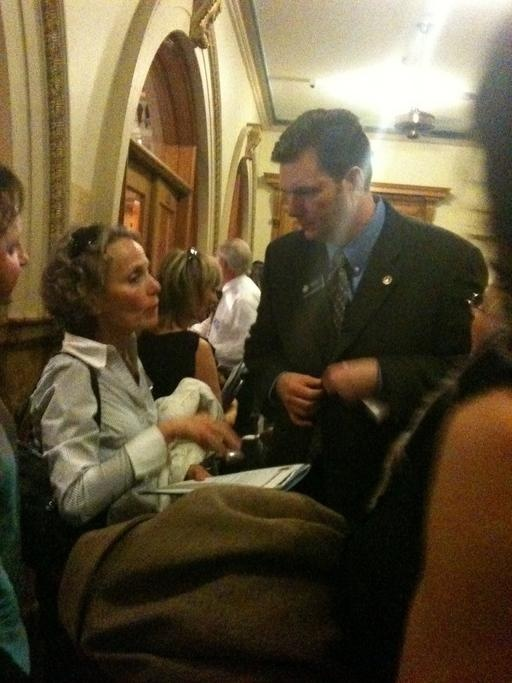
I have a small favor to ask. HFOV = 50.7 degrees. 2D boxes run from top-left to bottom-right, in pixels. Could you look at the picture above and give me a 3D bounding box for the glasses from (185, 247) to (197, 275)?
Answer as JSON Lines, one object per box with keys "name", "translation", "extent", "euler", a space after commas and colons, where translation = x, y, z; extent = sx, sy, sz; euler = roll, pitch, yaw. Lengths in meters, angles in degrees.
{"name": "glasses", "translation": [-0.253, -0.312, 2.074], "extent": [0.026, 0.079, 0.060], "euler": [7, -3, -12]}
